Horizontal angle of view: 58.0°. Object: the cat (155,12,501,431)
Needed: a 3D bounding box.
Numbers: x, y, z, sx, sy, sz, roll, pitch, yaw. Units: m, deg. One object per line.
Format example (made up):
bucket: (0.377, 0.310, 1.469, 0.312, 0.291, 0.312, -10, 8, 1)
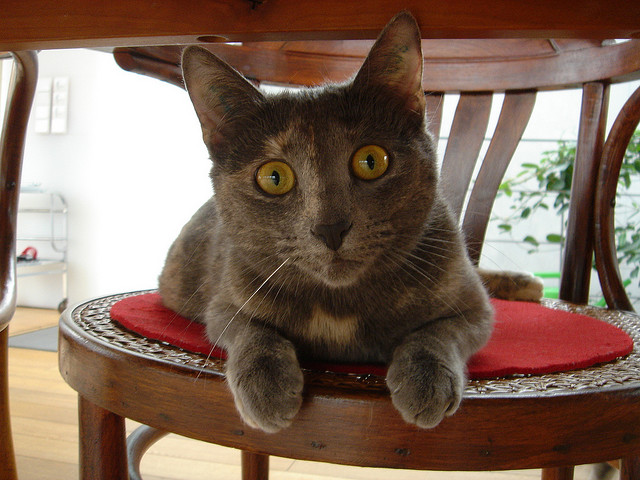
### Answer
cat: (0.022, -0.058, 1.026, 0.601, 0.658, 0.434, 4, 13, 12)
